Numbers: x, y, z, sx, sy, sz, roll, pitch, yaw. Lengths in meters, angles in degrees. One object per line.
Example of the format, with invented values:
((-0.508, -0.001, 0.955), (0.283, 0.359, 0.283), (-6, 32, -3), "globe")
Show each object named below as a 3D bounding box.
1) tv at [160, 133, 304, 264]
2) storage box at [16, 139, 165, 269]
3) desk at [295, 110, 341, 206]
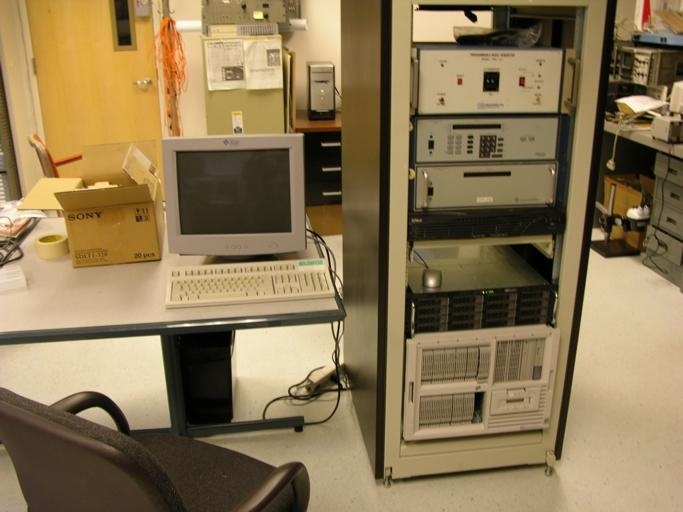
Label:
((-0.393, -0.241, 2.598), (0.740, 0.753, 0.433), (-1, 14, -2), "tv")
((-1.052, -0.164, 2.578), (0.569, 0.439, 0.552), (-4, 34, -10), "storage box")
((-0.150, -0.811, 4.626), (0.504, 0.784, 0.595), (-2, 29, -3), "desk")
